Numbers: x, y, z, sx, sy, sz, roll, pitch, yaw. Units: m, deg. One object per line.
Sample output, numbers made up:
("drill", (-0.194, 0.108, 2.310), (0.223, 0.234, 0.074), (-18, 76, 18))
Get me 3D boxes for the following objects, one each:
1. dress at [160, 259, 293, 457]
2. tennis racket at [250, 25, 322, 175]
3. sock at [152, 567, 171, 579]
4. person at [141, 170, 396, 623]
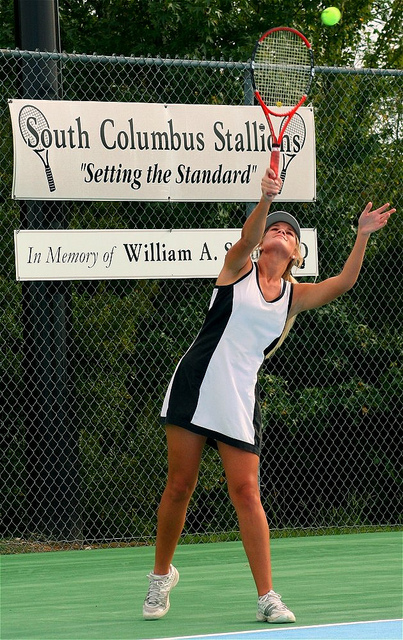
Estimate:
("dress", (0.079, 0.115, 2.378), (0.388, 0.557, 0.430), (8, 20, 7))
("tennis racket", (0.531, -1.317, 4.783), (0.389, 1.381, 0.121), (13, 46, 13))
("sock", (-0.142, 0.890, 2.435), (0.051, 0.027, 0.068), (1, 9, 7))
("person", (0.184, 0.268, 2.427), (0.625, 1.578, 0.784), (10, 21, 11))
